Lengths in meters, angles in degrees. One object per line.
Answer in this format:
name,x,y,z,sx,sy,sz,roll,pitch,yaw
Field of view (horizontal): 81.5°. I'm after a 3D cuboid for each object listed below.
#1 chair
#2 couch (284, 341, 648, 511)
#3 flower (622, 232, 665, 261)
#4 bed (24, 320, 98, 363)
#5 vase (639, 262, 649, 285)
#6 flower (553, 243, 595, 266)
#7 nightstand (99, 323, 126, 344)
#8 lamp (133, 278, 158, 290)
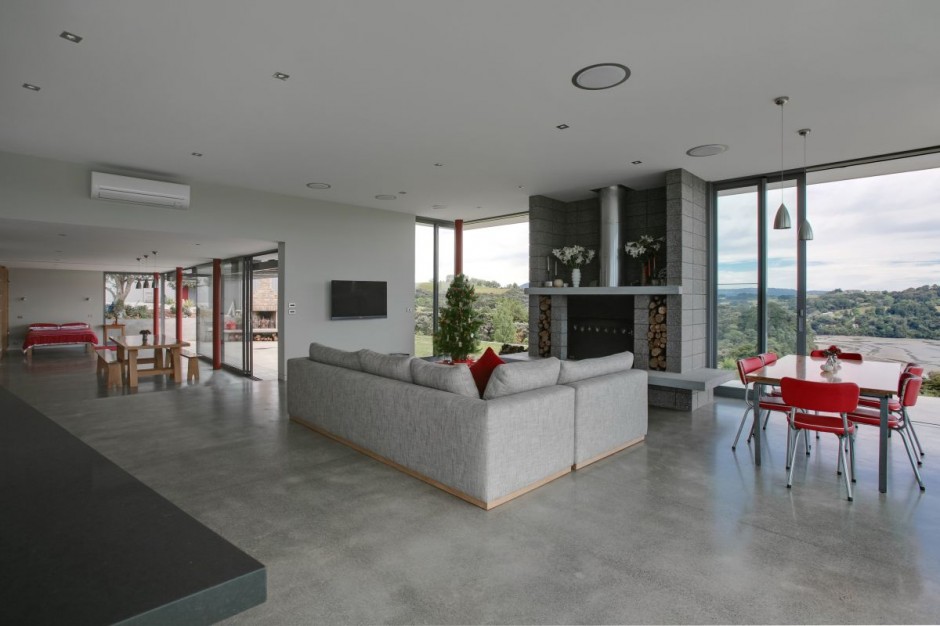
chair,3.684,0.962,5.376,1.631,0.818,1.562,2,-3,-6
couch,-0.207,0.926,5.658,3.526,1.199,1.892,5,14,20
flower,2.700,-1.020,8.512,0.602,0.413,0.592,9,16,31
bed,-10.686,0.633,14.230,1.506,0.655,2.354,-9,16,-33
vase,2.656,-0.611,8.268,0.117,0.330,0.275,3,14,13
flower,1.722,-0.983,9.422,0.657,0.385,0.680,12,18,41
nightstand,-9.652,0.529,14.609,0.605,0.533,0.512,0,-1,-36
lamp,-10.031,-0.929,16.760,0.563,0.306,0.543,2,-4,-38
